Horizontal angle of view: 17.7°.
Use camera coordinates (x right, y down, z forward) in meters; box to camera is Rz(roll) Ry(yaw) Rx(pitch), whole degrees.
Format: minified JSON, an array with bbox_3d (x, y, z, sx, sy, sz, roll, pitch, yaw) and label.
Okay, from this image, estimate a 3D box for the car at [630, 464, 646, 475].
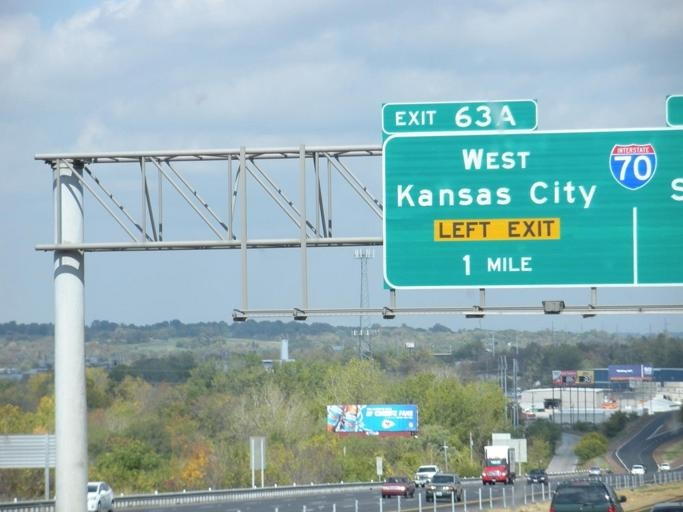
[{"bbox_3d":[58.254,43.600,436.732,2.353,1.931,4.096,2,14,7],"label":"car"}]
